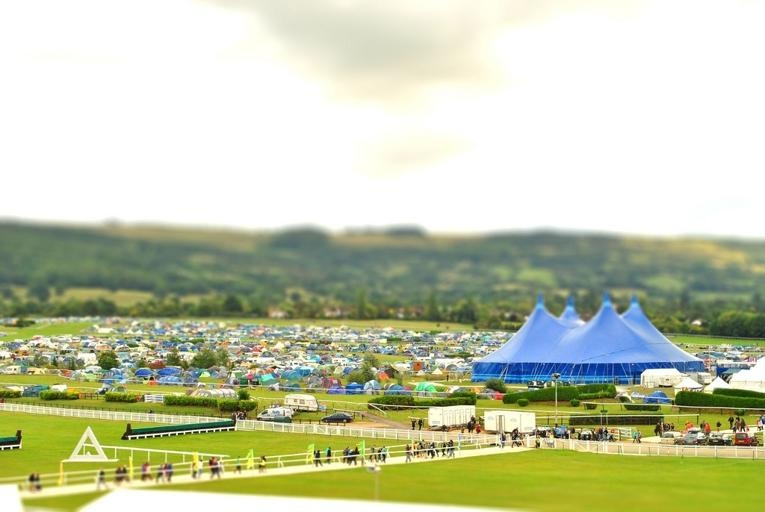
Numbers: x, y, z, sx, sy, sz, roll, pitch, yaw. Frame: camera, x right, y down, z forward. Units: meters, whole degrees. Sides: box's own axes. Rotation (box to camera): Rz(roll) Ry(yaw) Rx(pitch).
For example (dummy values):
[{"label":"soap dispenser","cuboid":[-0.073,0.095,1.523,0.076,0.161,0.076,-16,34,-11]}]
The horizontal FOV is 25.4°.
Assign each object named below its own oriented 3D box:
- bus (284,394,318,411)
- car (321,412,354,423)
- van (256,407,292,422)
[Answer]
[{"label":"bus","cuboid":[-7.892,14.385,167.278,3.073,1.147,1.471,3,-3,22]},{"label":"car","cuboid":[-4.386,15.172,160.794,2.588,0.681,1.047,3,-5,-7]},{"label":"van","cuboid":[-10.383,15.074,162.194,2.535,0.932,1.390,2,-4,-1]}]
